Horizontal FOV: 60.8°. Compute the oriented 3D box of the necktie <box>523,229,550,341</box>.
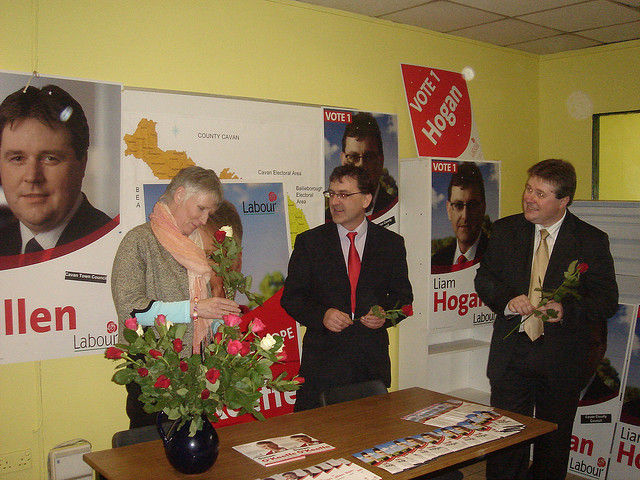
[{"bbox_3d":[1.617,0.317,4.025,0.170,0.839,0.211,8,8,19],"label":"necktie"}]

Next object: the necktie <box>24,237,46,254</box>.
[{"bbox_3d":[-1.826,0.040,3.492,0.106,0.087,0.018,-3,2,-37],"label":"necktie"}]

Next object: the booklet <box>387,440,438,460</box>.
[{"bbox_3d":[0.475,1.065,2.767,0.269,0.011,0.074,6,11,41],"label":"booklet"}]

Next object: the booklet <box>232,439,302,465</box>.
[{"bbox_3d":[-0.259,1.068,2.743,0.285,0.027,0.234,0,8,-30],"label":"booklet"}]

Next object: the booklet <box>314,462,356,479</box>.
[{"bbox_3d":[0.081,1.086,2.589,0.155,0.017,0.146,13,3,30],"label":"booklet"}]

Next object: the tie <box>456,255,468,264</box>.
[{"bbox_3d":[1.326,0.185,5.049,0.126,0.080,0.007,-3,2,-33],"label":"tie"}]

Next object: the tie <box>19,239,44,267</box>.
[{"bbox_3d":[-1.837,0.086,3.484,0.135,0.161,0.024,-2,2,-19],"label":"tie"}]

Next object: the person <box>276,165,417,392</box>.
[{"bbox_3d":[0.269,0.253,4.205,0.956,1.741,0.797,-3,2,-31],"label":"person"}]

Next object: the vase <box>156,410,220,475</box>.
[{"bbox_3d":[-0.587,0.948,2.677,0.338,0.296,0.392,10,9,-11],"label":"vase"}]

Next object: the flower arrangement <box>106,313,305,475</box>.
[{"bbox_3d":[-0.507,0.714,2.494,0.793,0.777,0.354,-2,2,-4],"label":"flower arrangement"}]

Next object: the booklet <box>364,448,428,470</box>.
[{"bbox_3d":[0.395,1.057,2.739,0.294,0.032,0.223,5,4,31],"label":"booklet"}]
